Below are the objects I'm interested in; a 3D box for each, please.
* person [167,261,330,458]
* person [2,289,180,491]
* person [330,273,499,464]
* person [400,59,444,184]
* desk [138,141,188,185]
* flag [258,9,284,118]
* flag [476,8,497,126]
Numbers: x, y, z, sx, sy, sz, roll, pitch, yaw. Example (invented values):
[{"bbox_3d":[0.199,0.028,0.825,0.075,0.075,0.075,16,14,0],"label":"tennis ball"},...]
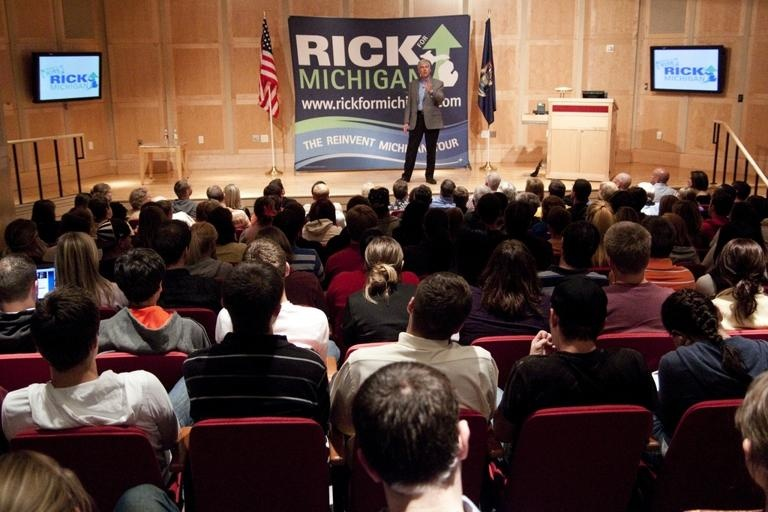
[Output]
[{"bbox_3d":[-0.574,0.438,2.950,0.780,1.021,0.693,-1,0,-4],"label":"person"},{"bbox_3d":[-1.250,0.602,2.554,0.617,0.942,0.580,-3,36,-10],"label":"person"},{"bbox_3d":[0.189,0.484,3.084,0.798,1.158,0.785,4,14,-6],"label":"person"},{"bbox_3d":[0.656,-2.246,9.887,0.661,2.065,0.593,2,10,13],"label":"person"},{"bbox_3d":[-4.142,-1.823,10.965,0.888,0.833,0.942,-2,10,-7],"label":"desk"},{"bbox_3d":[-2.201,-3.622,11.163,0.378,1.905,1.004,-1,10,-10],"label":"flag"},{"bbox_3d":[2.010,-3.626,11.455,0.320,2.074,0.793,2,10,9],"label":"flag"}]
